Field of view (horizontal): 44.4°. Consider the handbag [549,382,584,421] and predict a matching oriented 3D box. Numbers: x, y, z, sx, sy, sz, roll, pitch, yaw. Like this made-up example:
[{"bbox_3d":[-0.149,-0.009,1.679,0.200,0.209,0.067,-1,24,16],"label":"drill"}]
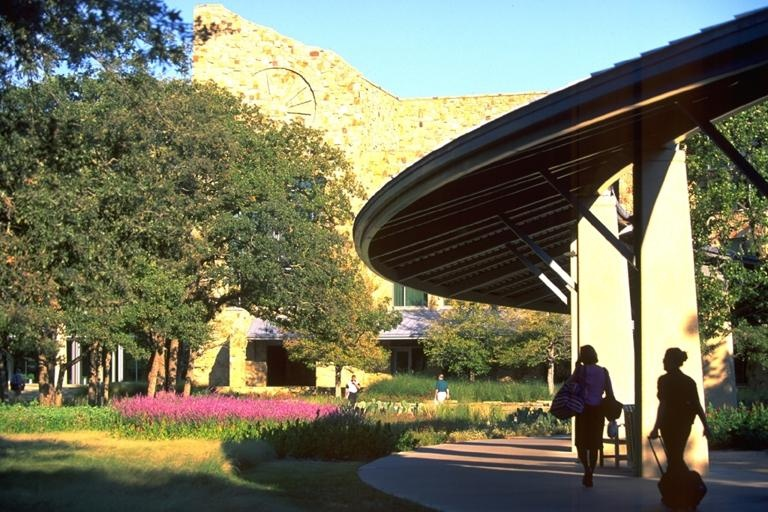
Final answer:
[{"bbox_3d":[3.807,3.013,19.399,0.591,0.798,0.326,38,1,27],"label":"handbag"}]
